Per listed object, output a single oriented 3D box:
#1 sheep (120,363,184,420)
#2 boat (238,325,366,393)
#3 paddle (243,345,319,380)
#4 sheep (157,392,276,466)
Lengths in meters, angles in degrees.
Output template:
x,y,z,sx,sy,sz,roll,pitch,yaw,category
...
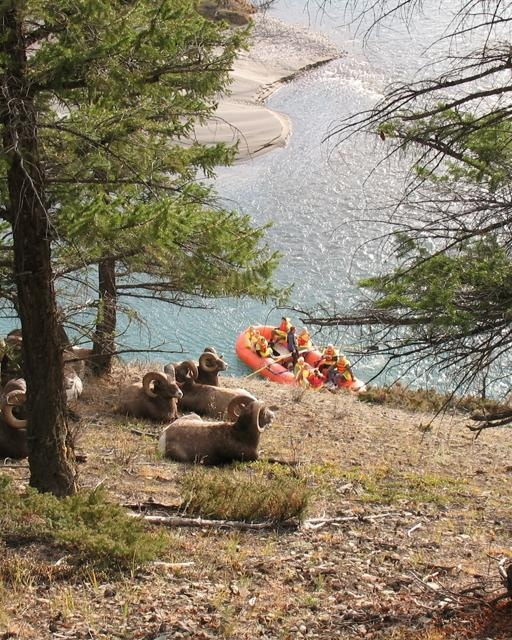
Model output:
x,y,z,sx,sy,sz,roll,pitch,yaw,category
-1.591,1.109,16.267,1.310,0.824,0.614,4,10,39,sheep
0.827,0.933,27.400,1.480,0.535,2.699,-24,41,-39,boat
0.278,1.031,27.291,0.904,0.239,1.429,-11,25,-34,paddle
-0.469,1.441,14.255,1.628,0.825,0.861,-2,8,-15,sheep
